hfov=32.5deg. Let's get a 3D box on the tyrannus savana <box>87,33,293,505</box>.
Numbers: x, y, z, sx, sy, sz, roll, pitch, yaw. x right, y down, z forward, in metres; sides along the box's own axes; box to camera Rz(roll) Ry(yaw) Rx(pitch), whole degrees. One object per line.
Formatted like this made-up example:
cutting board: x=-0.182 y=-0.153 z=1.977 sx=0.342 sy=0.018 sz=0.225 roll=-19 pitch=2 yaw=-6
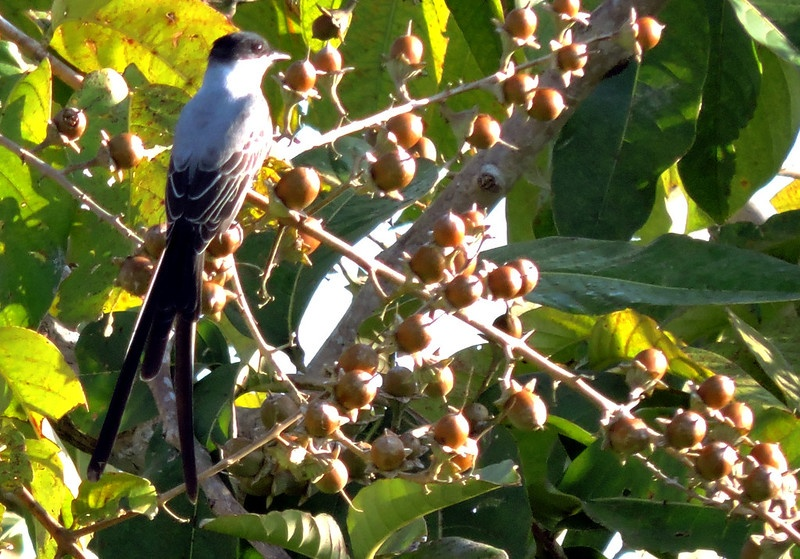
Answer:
tyrannus savana: x=-0.449 y=-0.133 z=3.160 sx=0.338 sy=1.388 sz=0.506 roll=13 pitch=-48 yaw=-17
